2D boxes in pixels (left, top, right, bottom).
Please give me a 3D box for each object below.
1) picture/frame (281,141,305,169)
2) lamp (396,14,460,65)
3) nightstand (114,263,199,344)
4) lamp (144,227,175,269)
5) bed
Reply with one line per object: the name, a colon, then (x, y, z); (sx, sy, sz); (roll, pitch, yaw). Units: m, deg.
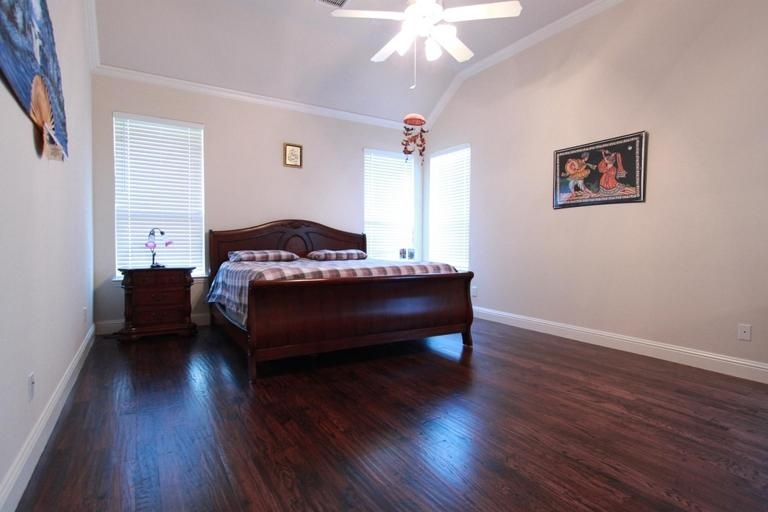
picture/frame: (-1.298, -1.402, 6.687); (0.392, 0.457, 0.047); (1, 0, -35)
lamp: (0.390, -1.970, 4.229); (0.597, 0.177, 0.638); (3, 3, 26)
nightstand: (-2.680, 0.479, 5.650); (0.841, 0.918, 0.487); (-3, 27, -29)
lamp: (-2.717, -0.091, 5.756); (0.309, 0.452, 0.470); (-4, 10, -25)
bed: (-0.803, 0.553, 5.587); (2.136, 1.400, 2.158); (0, -2, -29)
